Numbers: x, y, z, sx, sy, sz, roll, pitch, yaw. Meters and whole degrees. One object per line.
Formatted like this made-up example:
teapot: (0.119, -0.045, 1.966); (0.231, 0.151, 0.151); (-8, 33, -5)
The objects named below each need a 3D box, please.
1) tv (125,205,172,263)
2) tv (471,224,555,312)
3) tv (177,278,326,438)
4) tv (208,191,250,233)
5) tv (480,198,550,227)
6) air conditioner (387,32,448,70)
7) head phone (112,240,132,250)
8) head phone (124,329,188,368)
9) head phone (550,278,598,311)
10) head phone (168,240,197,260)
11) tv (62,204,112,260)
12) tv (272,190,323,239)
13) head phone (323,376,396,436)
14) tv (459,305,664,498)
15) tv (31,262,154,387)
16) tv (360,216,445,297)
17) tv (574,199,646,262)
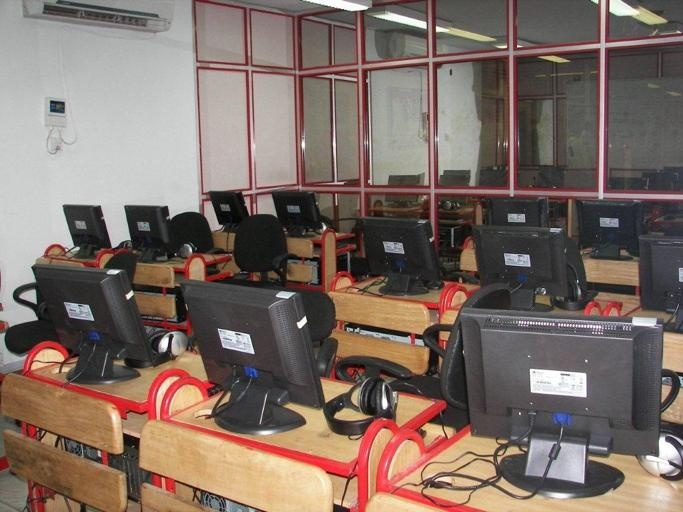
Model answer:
tv: (-1.754, -0.194, 4.700); (0.512, 0.517, 0.197); (7, 25, 22)
tv: (1.048, 0.070, 3.112); (0.515, 0.464, 0.321); (6, 22, 29)
tv: (-0.373, 0.382, 2.002); (0.567, 0.553, 0.165); (2, 15, 32)
tv: (-1.296, -0.502, 5.863); (0.609, 0.529, 0.230); (6, 19, 32)
tv: (1.510, -0.376, 4.432); (0.467, 0.276, 0.062); (9, 25, 34)
air conditioner: (1.028, -2.704, 6.757); (0.646, 0.552, 0.229); (7, 8, 20)
head phone: (-2.236, -0.120, 5.287); (0.135, 0.101, 0.175); (-4, 11, -35)
head phone: (-0.934, 0.480, 2.599); (0.192, 0.087, 0.260); (5, 4, 23)
head phone: (1.587, 0.265, 3.523); (0.204, 0.150, 0.268); (4, 10, 28)
head phone: (-1.509, -0.035, 4.827); (0.270, 0.112, 0.200); (-13, 9, 12)
tv: (-2.473, -0.219, 4.957); (0.533, 0.515, 0.312); (5, 17, 17)
tv: (-0.499, -0.450, 5.717); (0.720, 0.607, 0.289); (1, 21, 27)
head phone: (0.087, 0.615, 2.052); (0.321, 0.138, 0.269); (-14, 10, -11)
tv: (0.705, 0.474, 1.634); (0.530, 0.428, 0.293); (4, 25, 22)
tv: (-1.289, 0.366, 2.612); (0.657, 0.554, 0.368); (7, 15, 24)
tv: (0.458, 0.006, 3.898); (0.808, 0.661, 0.410); (3, 20, 31)
tv: (2.212, -0.208, 4.229); (0.491, 0.418, 0.201); (9, 29, 35)
